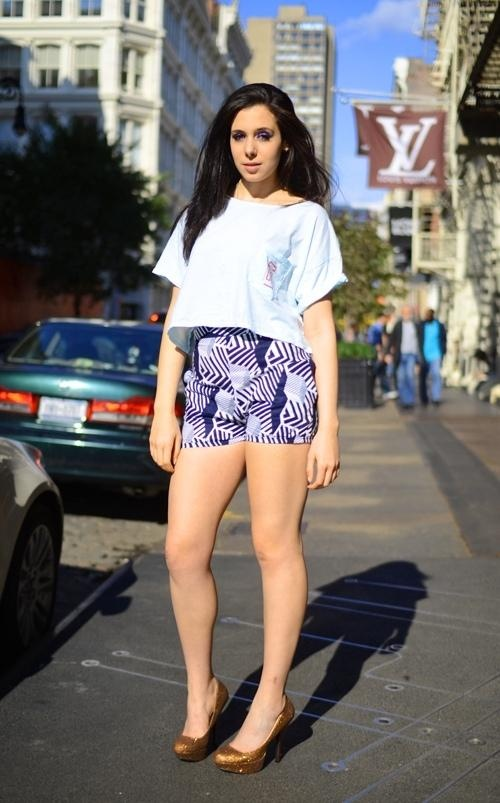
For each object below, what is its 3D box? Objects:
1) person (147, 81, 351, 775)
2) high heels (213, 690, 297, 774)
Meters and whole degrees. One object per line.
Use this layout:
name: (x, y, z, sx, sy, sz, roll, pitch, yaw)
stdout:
person: (-0.028, 0.043, 2.399, 0.492, 1.772, 0.429, 4, 6, -3)
high heels: (0.000, 0.877, 2.406, 0.249, 0.189, 0.116, -3, 6, -25)
